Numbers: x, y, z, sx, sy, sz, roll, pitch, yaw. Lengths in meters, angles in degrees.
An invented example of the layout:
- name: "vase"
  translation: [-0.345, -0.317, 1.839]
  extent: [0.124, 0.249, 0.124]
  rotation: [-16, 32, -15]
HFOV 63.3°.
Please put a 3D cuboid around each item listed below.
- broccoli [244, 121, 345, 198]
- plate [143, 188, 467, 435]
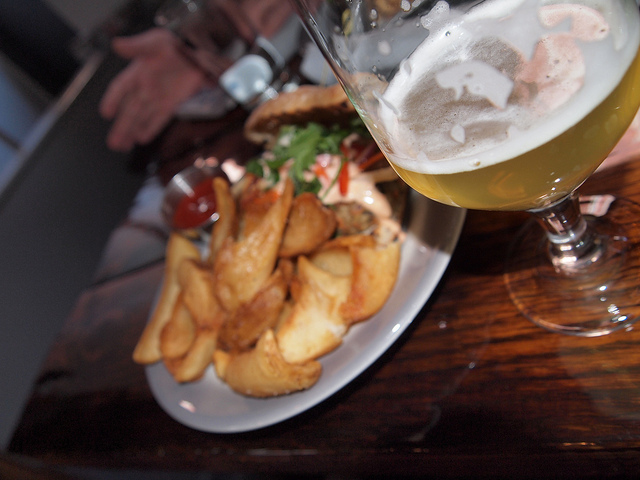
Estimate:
- name: "broccoli"
  translation: [-0.032, -0.169, 1.061]
  extent: [0.178, 0.065, 0.176]
  rotation: [-47, 43, -16]
- name: "plate"
  translation: [-0.025, 0.061, 0.951]
  extent: [0.552, 0.075, 0.551]
  rotation: [-24, 1, -37]
